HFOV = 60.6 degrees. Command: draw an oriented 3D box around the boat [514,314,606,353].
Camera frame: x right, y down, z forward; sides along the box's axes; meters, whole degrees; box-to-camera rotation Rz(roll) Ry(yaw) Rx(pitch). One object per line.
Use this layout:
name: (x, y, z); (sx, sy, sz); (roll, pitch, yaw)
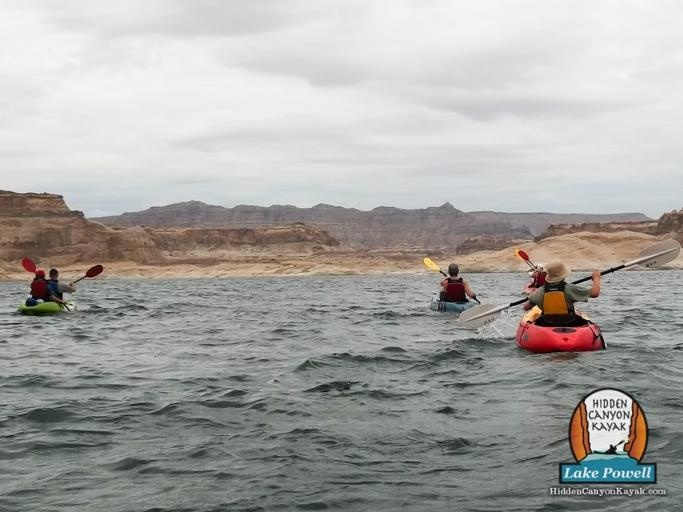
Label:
boat: (4.794, 1.536, 12.846); (1.853, 0.378, 2.581); (0, 11, 10)

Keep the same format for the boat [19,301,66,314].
boat: (-10.322, 1.820, 20.399); (1.510, 0.441, 0.908); (-3, 3, -21)

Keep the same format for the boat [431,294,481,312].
boat: (3.595, 1.514, 18.564); (1.082, 0.366, 2.582); (1, -5, -12)
